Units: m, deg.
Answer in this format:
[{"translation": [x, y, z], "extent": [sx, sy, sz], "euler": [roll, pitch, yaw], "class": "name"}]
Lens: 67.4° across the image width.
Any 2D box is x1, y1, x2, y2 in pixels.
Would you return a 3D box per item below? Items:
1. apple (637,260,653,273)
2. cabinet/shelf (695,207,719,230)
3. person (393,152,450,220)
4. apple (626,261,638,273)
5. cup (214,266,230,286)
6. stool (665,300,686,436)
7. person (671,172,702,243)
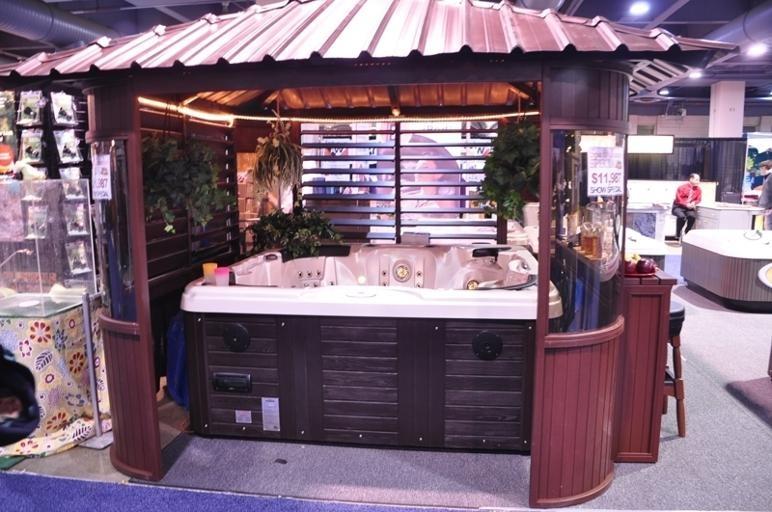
[{"translation": [2.173, 0.089, 4.869], "extent": [0.107, 0.113, 0.110], "euler": [-1, 9, 28], "class": "apple"}, {"translation": [6.266, -0.753, 11.362], "extent": [0.323, 0.507, 0.520], "euler": [-3, 8, -9], "class": "cabinet/shelf"}, {"translation": [0.463, -0.970, 7.681], "extent": [0.780, 0.857, 0.874], "euler": [1, 13, 10], "class": "person"}, {"translation": [2.062, 0.092, 4.897], "extent": [0.091, 0.101, 0.096], "euler": [0, 1, -6], "class": "apple"}, {"translation": [-1.446, 0.181, 5.222], "extent": [0.135, 0.159, 0.138], "euler": [2, 5, 0], "class": "cup"}, {"translation": [2.559, 1.009, 5.104], "extent": [0.187, 1.204, 0.412], "euler": [4, 9, 28], "class": "stool"}, {"translation": [6.589, -1.048, 12.780], "extent": [0.531, 1.507, 0.810], "euler": [4, 9, 28], "class": "person"}]
